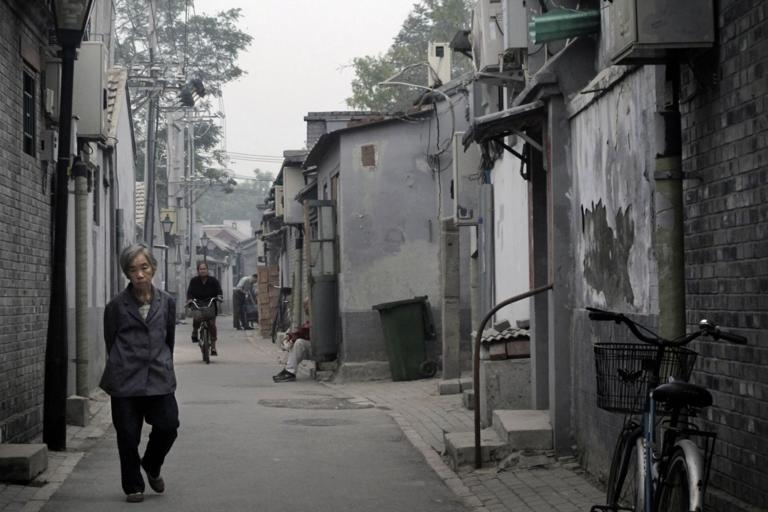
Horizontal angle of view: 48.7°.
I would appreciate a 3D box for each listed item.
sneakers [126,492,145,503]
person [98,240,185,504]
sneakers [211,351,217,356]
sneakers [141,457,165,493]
[{"bbox_3d":[-2.385,2.315,8.157,0.158,0.091,0.095,1,-6,-5],"label":"sneakers"},{"bbox_3d":[-2.375,1.139,8.386,0.716,2.458,0.494,5,-8,-43],"label":"person"},{"bbox_3d":[-4.470,2.575,22.475,0.150,0.185,0.185,0,0,-5],"label":"sneakers"},{"bbox_3d":[-2.282,2.245,8.572,0.139,0.423,0.143,-25,6,-27],"label":"sneakers"}]
